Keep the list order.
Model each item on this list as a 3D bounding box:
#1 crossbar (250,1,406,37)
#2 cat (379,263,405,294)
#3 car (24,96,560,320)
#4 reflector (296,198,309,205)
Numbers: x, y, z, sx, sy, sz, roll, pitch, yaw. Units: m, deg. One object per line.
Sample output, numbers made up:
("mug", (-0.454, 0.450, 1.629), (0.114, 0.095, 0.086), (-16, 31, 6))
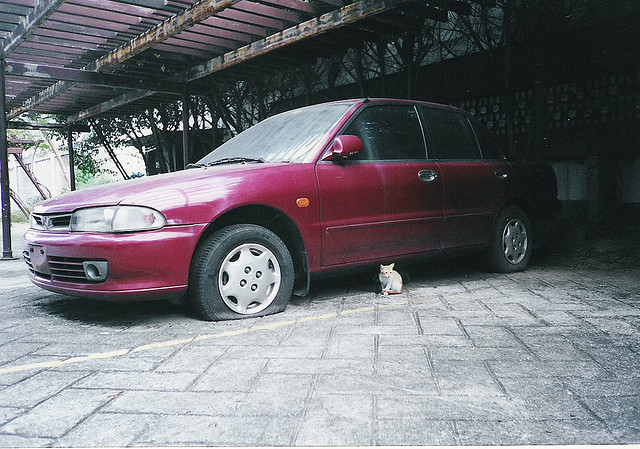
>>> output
("crossbar", (0.297, -3.267, 6.784), (2.666, 0.289, 0.301), (-4, 7, -28))
("cat", (0.726, 0.536, 4.442), (0.247, 0.333, 0.263), (4, 13, 19))
("car", (0.072, -0.262, 4.277), (4.979, 2.018, 0.870), (-4, 7, -25))
("reflector", (-0.147, -0.199, 3.742), (0.120, 0.056, 0.024), (-6, 8, -39))
